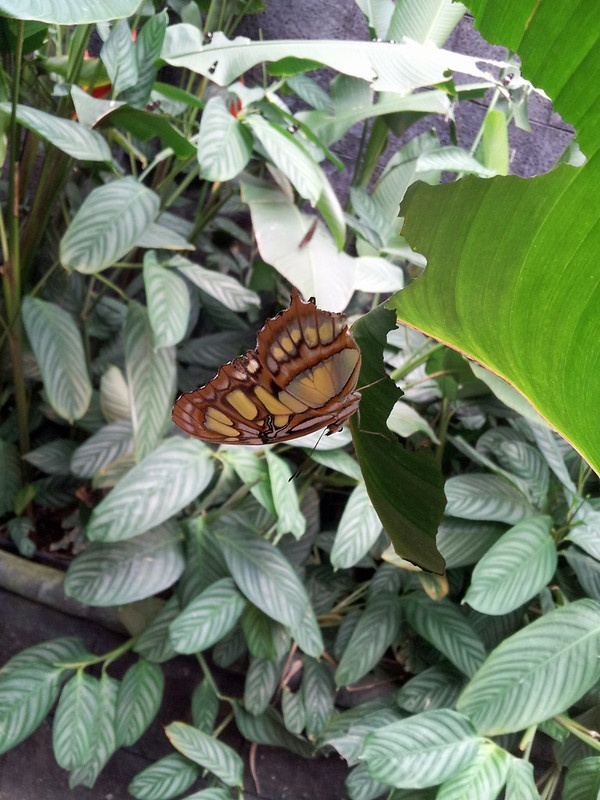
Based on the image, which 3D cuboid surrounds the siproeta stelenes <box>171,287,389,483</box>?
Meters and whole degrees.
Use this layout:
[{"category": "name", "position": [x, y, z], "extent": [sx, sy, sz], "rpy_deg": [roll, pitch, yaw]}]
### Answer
[{"category": "siproeta stelenes", "position": [-0.026, -0.011, 0.518], "extent": [0.132, 0.115, 0.196], "rpy_deg": [-6, 9, 20]}]
